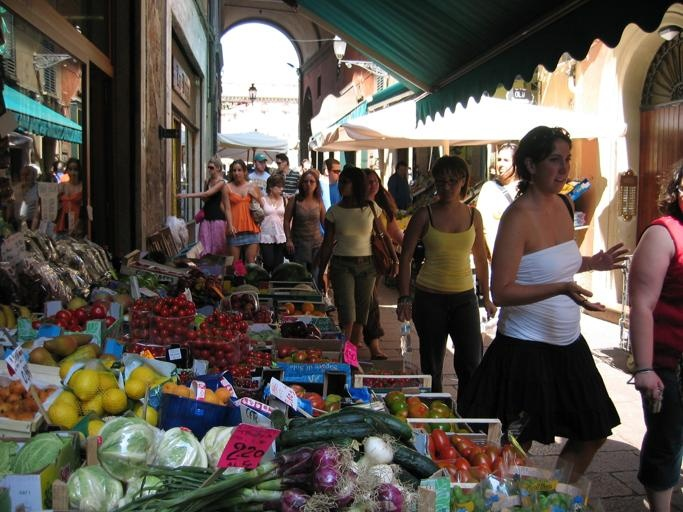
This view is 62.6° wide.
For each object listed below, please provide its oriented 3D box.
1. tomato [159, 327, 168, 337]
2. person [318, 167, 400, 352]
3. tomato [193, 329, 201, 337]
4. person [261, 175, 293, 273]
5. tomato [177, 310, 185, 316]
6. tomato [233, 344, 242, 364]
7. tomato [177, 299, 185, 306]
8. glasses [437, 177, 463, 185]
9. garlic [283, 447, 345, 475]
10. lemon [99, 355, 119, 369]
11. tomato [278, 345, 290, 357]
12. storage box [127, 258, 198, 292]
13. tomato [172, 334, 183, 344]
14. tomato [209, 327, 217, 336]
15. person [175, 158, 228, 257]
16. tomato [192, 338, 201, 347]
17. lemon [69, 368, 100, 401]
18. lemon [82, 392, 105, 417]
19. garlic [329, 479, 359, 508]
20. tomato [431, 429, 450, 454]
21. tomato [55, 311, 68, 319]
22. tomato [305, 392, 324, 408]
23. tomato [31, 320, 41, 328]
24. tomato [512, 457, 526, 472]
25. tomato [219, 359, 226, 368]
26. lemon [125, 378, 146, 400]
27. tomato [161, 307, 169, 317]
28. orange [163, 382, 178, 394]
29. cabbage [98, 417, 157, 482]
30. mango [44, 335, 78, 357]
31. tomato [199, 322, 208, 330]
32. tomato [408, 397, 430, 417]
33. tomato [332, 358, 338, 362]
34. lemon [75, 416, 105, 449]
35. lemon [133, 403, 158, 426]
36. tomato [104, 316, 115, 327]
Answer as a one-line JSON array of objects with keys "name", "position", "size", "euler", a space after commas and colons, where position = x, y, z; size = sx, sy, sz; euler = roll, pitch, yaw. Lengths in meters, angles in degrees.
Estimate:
[{"name": "tomato", "position": [-1.176, 0.497, 3.718], "size": [0.066, 0.066, 0.057], "euler": [13, -13, -30]}, {"name": "person", "position": [0.342, 0.113, 7.074], "size": [0.631, 2.301, 0.560], "euler": [6, 9, 29]}, {"name": "tomato", "position": [-0.951, 0.505, 3.695], "size": [0.035, 0.045, 0.039], "euler": [-8, -13, 9]}, {"name": "person", "position": [-1.192, -0.499, 9.906], "size": [0.544, 1.872, 0.715], "euler": [0, 3, -10]}, {"name": "tomato", "position": [-1.082, 0.384, 3.793], "size": [0.048, 0.034, 0.043], "euler": [0, 5, -19]}, {"name": "tomato", "position": [-0.653, 0.630, 3.650], "size": [0.084, 0.116, 0.093], "euler": [1, -3, -6]}, {"name": "tomato", "position": [-1.100, 0.316, 3.840], "size": [0.028, 0.032, 0.037], "euler": [22, 35, 7]}, {"name": "glasses", "position": [0.911, -0.630, 4.725], "size": [0.189, 0.063, 0.052], "euler": [3, 5, 12]}, {"name": "garlic", "position": [-0.115, 0.775, 2.146], "size": [0.197, 0.101, 0.104], "euler": [-6, 0, 7]}, {"name": "lemon", "position": [-1.319, 0.586, 3.139], "size": [0.080, 0.104, 0.120], "euler": [3, -8, -3]}, {"name": "tomato", "position": [-0.398, 0.667, 3.930], "size": [0.094, 0.052, 0.073], "euler": [7, 7, 42]}, {"name": "storage box", "position": [-1.737, 0.175, 5.327], "size": [0.604, 0.219, 0.640], "euler": [1, 6, -18]}, {"name": "tomato", "position": [-1.078, 0.539, 3.693], "size": [0.056, 0.069, 0.062], "euler": [0, 0, 0]}, {"name": "tomato", "position": [-0.836, 0.491, 3.666], "size": [0.040, 0.036, 0.072], "euler": [0, 6, -26]}, {"name": "person", "position": [-2.304, -0.761, 9.521], "size": [0.833, 2.269, 0.906], "euler": [0, 10, -10]}, {"name": "tomato", "position": [-0.934, 0.553, 3.595], "size": [0.048, 0.059, 0.053], "euler": [2, 6, 7]}, {"name": "lemon", "position": [-1.312, 0.632, 2.841], "size": [0.131, 0.172, 0.127], "euler": [5, -1, 40]}, {"name": "lemon", "position": [-1.242, 0.739, 2.795], "size": [0.099, 0.107, 0.063], "euler": [0, 5, -27]}, {"name": "garlic", "position": [0.017, 0.856, 2.054], "size": [0.069, 0.095, 0.030], "euler": [37, -22, -9]}, {"name": "tomato", "position": [0.514, 0.956, 2.922], "size": [0.066, 0.107, 0.075], "euler": [-13, -12, 9]}, {"name": "tomato", "position": [-1.837, 0.387, 3.678], "size": [0.045, 0.051, 0.058], "euler": [-18, 31, -11]}, {"name": "tomato", "position": [-0.150, 0.806, 3.162], "size": [0.073, 0.089, 0.077], "euler": [3, 4, 4]}, {"name": "tomato", "position": [-1.951, 0.432, 3.575], "size": [0.048, 0.056, 0.061], "euler": [12, -33, -19]}, {"name": "tomato", "position": [0.796, 0.930, 2.512], "size": [0.033, 0.069, 0.046], "euler": [-6, 12, -41]}, {"name": "tomato", "position": [-0.749, 0.675, 3.546], "size": [0.038, 0.057, 0.043], "euler": [-1, 7, 7]}, {"name": "lemon", "position": [-1.042, 0.668, 2.835], "size": [0.078, 0.095, 0.111], "euler": [-2, -12, 28]}, {"name": "tomato", "position": [-1.186, 0.374, 3.769], "size": [0.043, 0.063, 0.047], "euler": [1, 3, 2]}, {"name": "orange", "position": [-0.849, 0.648, 2.775], "size": [0.041, 0.049, 0.054], "euler": [-15, 21, 1]}, {"name": "cabbage", "position": [-0.899, 0.811, 2.383], "size": [0.133, 0.198, 0.226], "euler": [-18, -8, 17]}, {"name": "mango", "position": [-1.608, 0.510, 3.206], "size": [0.133, 0.119, 0.106], "euler": [2, -17, -12]}, {"name": "tomato", "position": [-0.919, 0.461, 3.741], "size": [0.048, 0.036, 0.071], "euler": [0, 6, -20]}, {"name": "tomato", "position": [0.443, 0.877, 3.269], "size": [0.070, 0.082, 0.076], "euler": [1, 26, 0]}, {"name": "tomato", "position": [-0.039, 0.720, 3.912], "size": [0.035, 0.030, 0.022], "euler": [0, -9, -3]}, {"name": "lemon", "position": [-1.169, 0.781, 2.590], "size": [0.146, 0.174, 0.124], "euler": [-17, -18, 30]}, {"name": "lemon", "position": [-0.941, 0.761, 2.701], "size": [0.067, 0.078, 0.089], "euler": [-19, -30, -2]}, {"name": "tomato", "position": [-1.586, 0.441, 3.827], "size": [0.061, 0.089, 0.067], "euler": [3, 0, -7]}]
